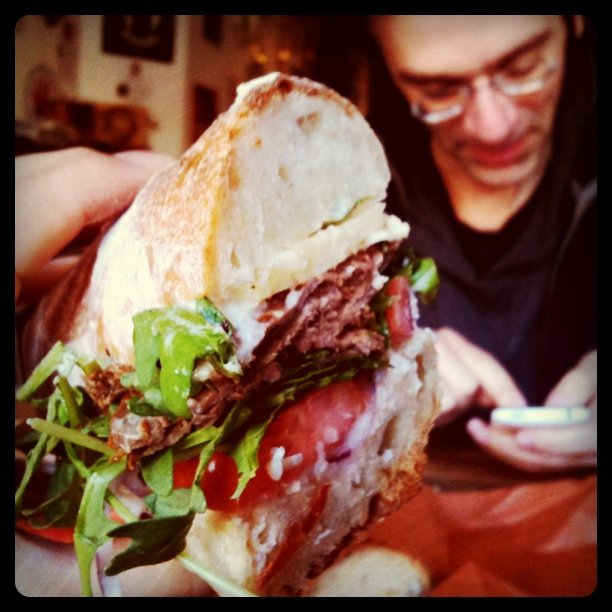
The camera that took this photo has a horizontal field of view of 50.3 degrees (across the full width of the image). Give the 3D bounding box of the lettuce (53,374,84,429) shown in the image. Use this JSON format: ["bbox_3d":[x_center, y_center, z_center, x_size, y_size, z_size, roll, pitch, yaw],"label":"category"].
[{"bbox_3d":[-0.622,0.247,1.707,0.045,0.039,0.172,-20,86,1],"label":"lettuce"}]

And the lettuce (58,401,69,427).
[{"bbox_3d":[-0.647,0.287,1.721,0.021,0.088,0.045,2,25,-24],"label":"lettuce"}]

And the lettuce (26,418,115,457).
[{"bbox_3d":[-0.612,0.340,1.704,0.218,0.040,0.056,19,66,10],"label":"lettuce"}]

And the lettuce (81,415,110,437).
[{"bbox_3d":[-0.541,0.311,1.691,0.078,0.061,0.019,1,11,14],"label":"lettuce"}]

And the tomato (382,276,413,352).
[{"bbox_3d":[0.249,0.011,1.738,0.051,0.164,0.152,-5,1,11],"label":"tomato"}]

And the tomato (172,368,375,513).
[{"bbox_3d":[-0.076,0.305,1.679,0.440,0.294,0.115,-43,91,-10],"label":"tomato"}]

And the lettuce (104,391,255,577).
[{"bbox_3d":[-0.356,0.550,1.673,0.217,0.688,0.193,20,31,-38],"label":"lettuce"}]

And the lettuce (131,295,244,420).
[{"bbox_3d":[-0.275,0.074,1.455,0.249,0.092,0.346,9,30,-24],"label":"lettuce"}]
